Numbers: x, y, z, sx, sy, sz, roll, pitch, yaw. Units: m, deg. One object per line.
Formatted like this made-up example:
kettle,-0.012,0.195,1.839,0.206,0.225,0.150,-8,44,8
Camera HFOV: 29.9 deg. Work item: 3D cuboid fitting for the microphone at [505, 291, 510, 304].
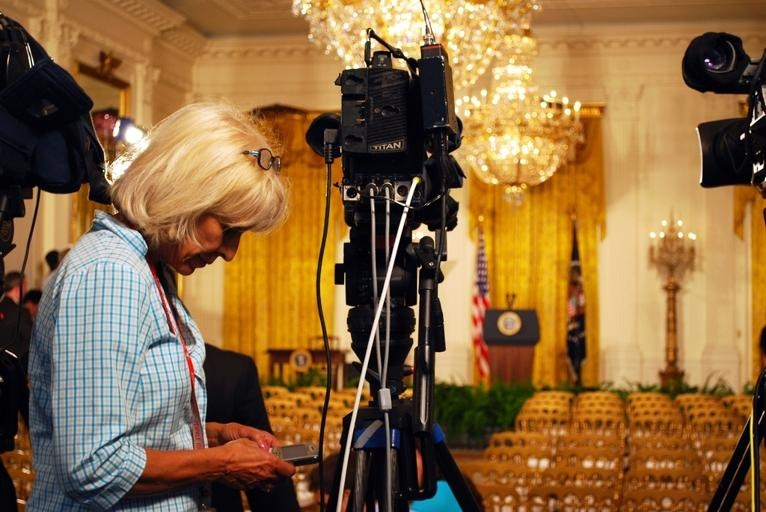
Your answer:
microphone,1.784,0.585,20.523,0.047,0.202,0.073,-2,-1,33

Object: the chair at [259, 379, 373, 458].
chair,-0.905,1.913,17.137,0.847,0.889,1.038,0,-3,20

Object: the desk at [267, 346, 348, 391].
desk,-1.173,1.686,21.338,1.351,0.610,0.690,0,0,29

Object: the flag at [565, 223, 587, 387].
flag,2.979,0.754,22.075,0.294,2.476,0.189,1,0,7
